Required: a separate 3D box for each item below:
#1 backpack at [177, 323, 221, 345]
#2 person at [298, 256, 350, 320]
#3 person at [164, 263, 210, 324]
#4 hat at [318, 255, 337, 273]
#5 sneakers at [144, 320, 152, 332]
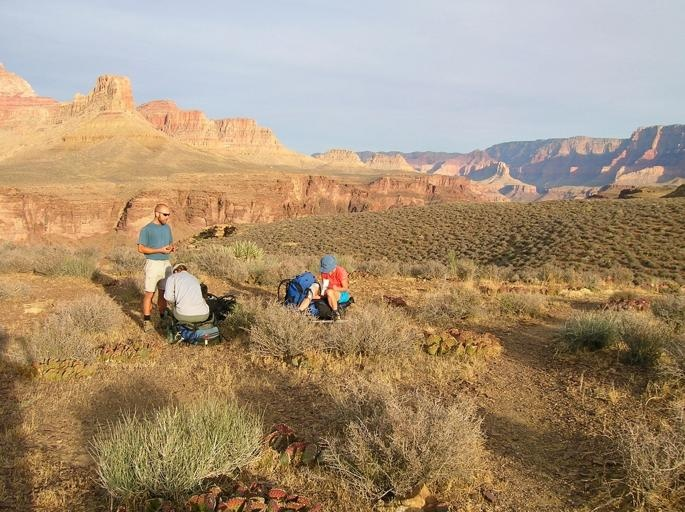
[{"bbox_3d":[-2.152,1.166,7.954,0.489,0.193,0.357,5,0,-1],"label":"backpack"},{"bbox_3d":[-0.263,0.492,8.541,1.116,0.860,0.785,-14,21,-41],"label":"person"},{"bbox_3d":[-2.424,0.614,8.028,0.601,0.303,0.894,1,51,-22],"label":"person"},{"bbox_3d":[-0.204,0.108,8.669,0.252,0.169,0.321,1,16,10],"label":"hat"},{"bbox_3d":[-3.137,1.121,8.458,0.141,0.184,0.177,-6,44,-15],"label":"sneakers"}]
